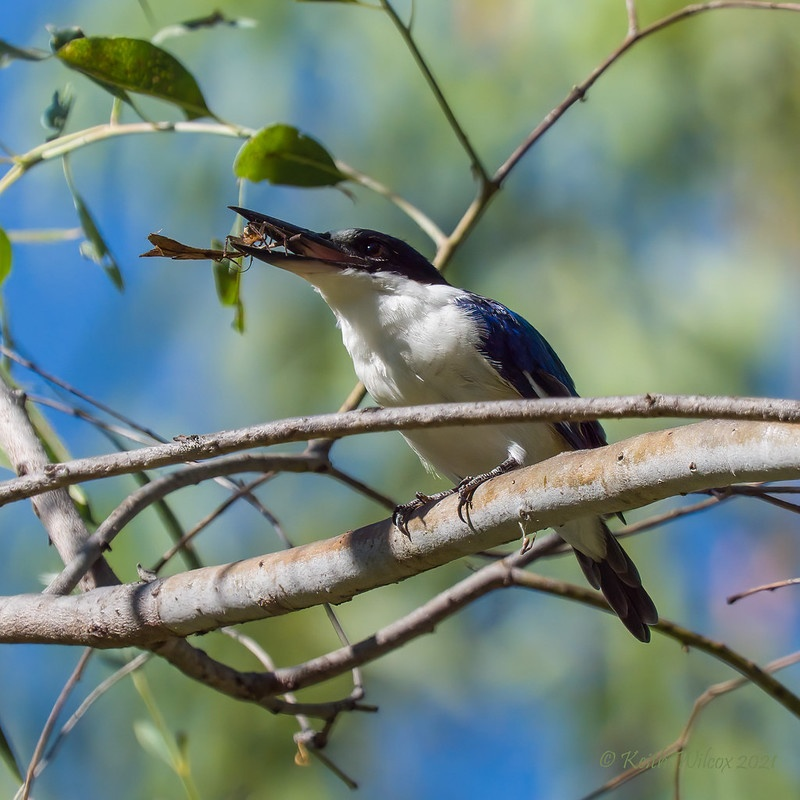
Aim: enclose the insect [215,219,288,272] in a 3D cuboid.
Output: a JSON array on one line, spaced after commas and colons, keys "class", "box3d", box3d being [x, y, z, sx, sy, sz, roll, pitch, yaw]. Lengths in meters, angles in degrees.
[{"class": "insect", "box3d": [-0.468, -0.490, 3.786, 0.159, 0.203, 0.071, -15, -71, 33]}]
